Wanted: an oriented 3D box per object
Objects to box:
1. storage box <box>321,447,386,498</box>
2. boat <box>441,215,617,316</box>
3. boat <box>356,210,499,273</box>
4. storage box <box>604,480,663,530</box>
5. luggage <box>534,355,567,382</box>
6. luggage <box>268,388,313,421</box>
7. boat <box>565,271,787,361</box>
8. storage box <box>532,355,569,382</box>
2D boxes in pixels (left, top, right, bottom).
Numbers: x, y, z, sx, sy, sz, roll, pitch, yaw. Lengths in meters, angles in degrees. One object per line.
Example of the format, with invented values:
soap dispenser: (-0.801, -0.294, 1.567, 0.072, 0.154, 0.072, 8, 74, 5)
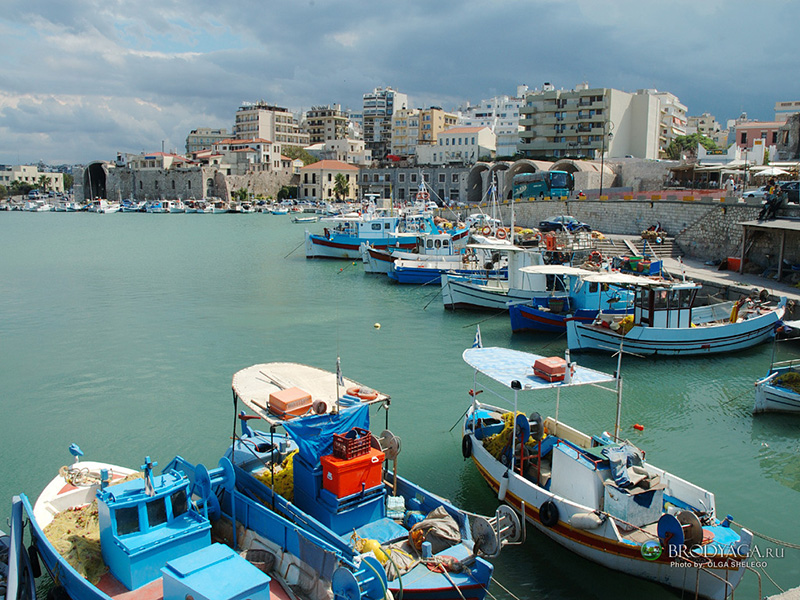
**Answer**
storage box: (-0.935, 3.376, 13.654, 1.231, 0.633, 0.817, -5, 7, -43)
boat: (5.678, -0.973, 32.876, 6.980, 3.279, 2.076, -1, 8, -3)
boat: (2.321, -3.522, 47.242, 10.177, 3.778, 2.470, 0, 0, 11)
storage box: (4.847, 4.151, 13.954, 1.181, 0.920, 0.993, -4, 7, -41)
luggage: (3.599, 1.581, 16.016, 0.525, 0.327, 0.645, -5, 13, -19)
luggage: (-2.172, 2.032, 13.717, 0.528, 0.348, 0.689, -10, 21, -37)
boat: (11.159, 0.420, 27.129, 9.188, 3.535, 3.226, -3, 9, -7)
storage box: (3.609, 1.592, 16.020, 0.546, 0.320, 0.629, -5, 13, -22)
